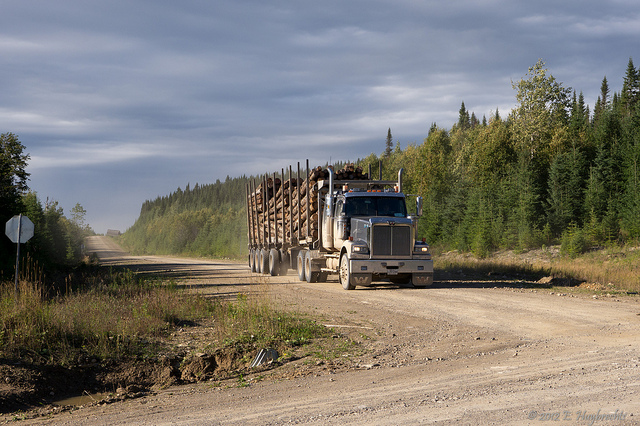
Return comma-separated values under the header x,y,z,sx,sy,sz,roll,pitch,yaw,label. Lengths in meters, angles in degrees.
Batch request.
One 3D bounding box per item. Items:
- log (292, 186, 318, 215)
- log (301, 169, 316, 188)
x,y,z,sx,sy,sz,roll,pitch,yaw,label
-0.659,-0.572,30.579,0.436,1.520,2.283,-6,10,-24,log
-0.573,-1.634,30.593,0.387,0.945,1.281,-5,10,-20,log
